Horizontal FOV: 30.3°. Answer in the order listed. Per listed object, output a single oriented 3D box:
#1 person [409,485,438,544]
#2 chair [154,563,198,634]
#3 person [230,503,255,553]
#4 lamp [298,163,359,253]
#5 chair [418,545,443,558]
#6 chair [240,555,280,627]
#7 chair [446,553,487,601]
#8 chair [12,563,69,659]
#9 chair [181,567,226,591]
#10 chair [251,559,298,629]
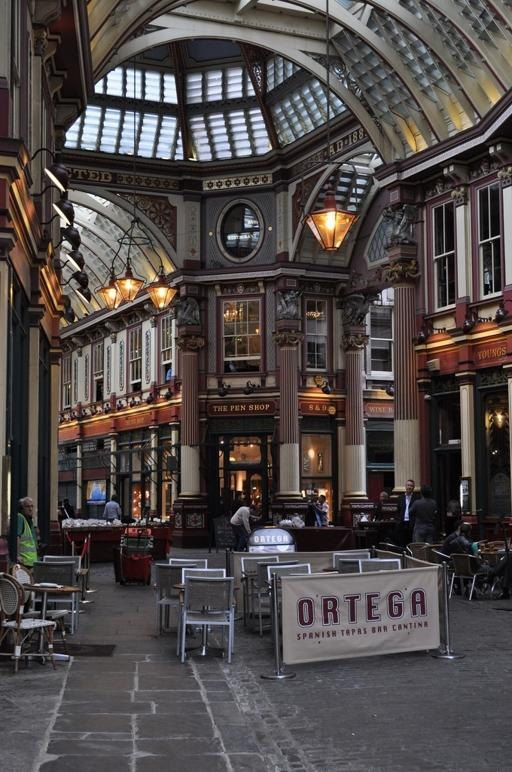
[{"bbox_3d":[3.001,2.447,16.892,0.451,1.456,0.423,-1,13,-4],"label":"person"},{"bbox_3d":[-0.914,2.532,11.214,0.433,0.795,0.546,-1,-10,20],"label":"chair"},{"bbox_3d":[-0.277,3.274,21.368,0.523,1.259,0.351,3,-34,-4],"label":"person"},{"bbox_3d":[1.285,-2.975,15.908,0.786,1.411,0.927,-1,-16,-1],"label":"lamp"},{"bbox_3d":[2.967,2.771,15.904,0.240,0.205,0.252,7,-14,-19],"label":"chair"},{"bbox_3d":[0.100,2.662,12.250,0.539,0.869,0.591,2,-7,-16],"label":"chair"},{"bbox_3d":[3.490,3.089,15.563,0.518,0.787,1.879,-2,-6,11],"label":"chair"},{"bbox_3d":[-2.189,2.323,9.704,0.612,0.983,0.585,4,-3,-7],"label":"chair"},{"bbox_3d":[-0.552,2.033,9.954,0.347,0.254,0.186,0,-3,-3],"label":"chair"},{"bbox_3d":[0.179,2.591,11.676,0.471,0.910,0.553,1,1,-12],"label":"chair"}]
